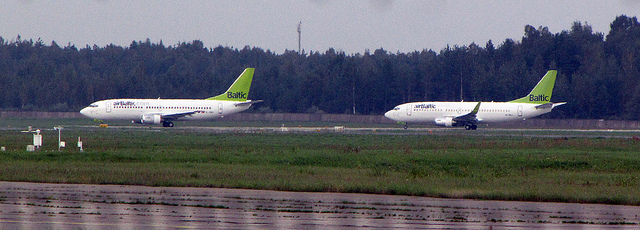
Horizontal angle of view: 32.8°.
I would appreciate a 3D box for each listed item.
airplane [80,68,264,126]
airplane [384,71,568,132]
[{"bbox_3d":[-54.708,-3.930,391.293,60.761,12.493,35.531,-3,-6,-10],"label":"airplane"},{"bbox_3d":[54.676,-3.975,390.991,63.212,13.834,49.553,-3,0,14],"label":"airplane"}]
